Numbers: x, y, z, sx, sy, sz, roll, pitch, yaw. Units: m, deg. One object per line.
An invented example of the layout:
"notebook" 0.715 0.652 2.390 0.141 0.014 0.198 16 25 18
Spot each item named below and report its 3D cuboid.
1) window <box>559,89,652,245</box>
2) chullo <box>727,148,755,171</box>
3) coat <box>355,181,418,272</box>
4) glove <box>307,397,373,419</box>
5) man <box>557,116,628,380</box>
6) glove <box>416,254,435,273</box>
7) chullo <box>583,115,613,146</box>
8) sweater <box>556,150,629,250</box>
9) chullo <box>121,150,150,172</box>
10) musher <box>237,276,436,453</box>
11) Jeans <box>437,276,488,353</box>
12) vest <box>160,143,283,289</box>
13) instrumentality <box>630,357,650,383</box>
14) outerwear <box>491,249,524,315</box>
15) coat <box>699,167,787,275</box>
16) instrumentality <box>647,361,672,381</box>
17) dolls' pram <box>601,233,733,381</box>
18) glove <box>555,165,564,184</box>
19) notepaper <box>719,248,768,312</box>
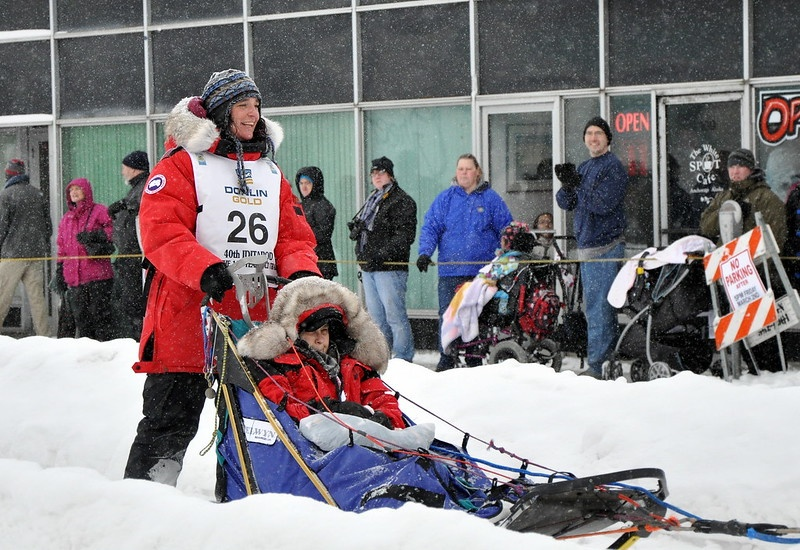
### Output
"window" 2.431 -1.107 14.039 1.079 2.116 0.071 0 22 14
"chullo" 3.502 -1.191 12.301 0.202 0.190 0.230 2 -2 32
"coat" -0.134 -0.512 13.191 0.550 0.990 0.929 4 4 -27
"glove" -0.414 0.946 8.611 0.272 0.098 0.211 12 -4 12
"man" 1.978 -0.325 12.584 0.721 2.640 0.843 0 6 13
"glove" 0.250 -0.136 12.797 0.138 0.187 0.069 7 -12 -3
"chullo" 2.068 -1.540 12.524 0.259 0.345 0.196 -10 3 7
"sweater" 2.043 -0.779 12.643 0.641 1.047 0.833 -3 8 -30
"chullo" -3.056 -1.328 13.851 0.280 0.252 0.217 -3 0 33
"musher" -0.524 0.593 8.887 1.164 0.644 1.657 6 33 -29
"Jeans" 0.649 0.407 12.522 0.279 0.691 0.510 11 11 -37
"vest" -1.324 -0.347 9.296 1.068 1.500 0.777 2 -3 -40
"instrumentality" 2.383 0.953 12.029 0.200 0.215 0.075 -28 -21 28
"outerwear" 1.062 0.055 12.407 0.192 0.576 0.396 9 -4 -35
"coat" 3.516 -0.557 12.359 0.746 1.269 0.375 -6 34 11
"instrumentality" 2.492 0.914 11.522 0.051 0.173 0.163 -4 7 -32
"dolls' pram" 2.692 0.311 12.484 1.275 1.681 1.323 0 -1 24
"glove" 1.658 -1.077 12.556 0.100 0.151 0.048 1 6 26
"notepaper" 3.255 0.025 11.434 0.391 0.563 0.025 -29 -15 33
